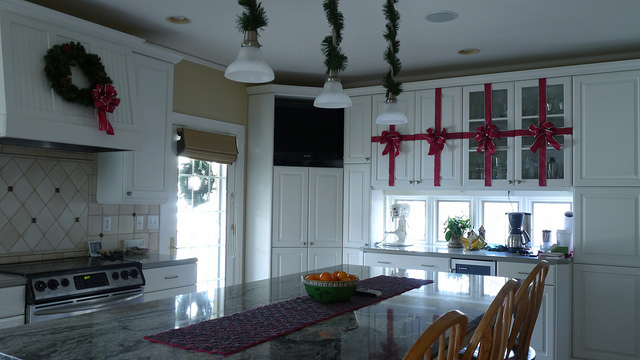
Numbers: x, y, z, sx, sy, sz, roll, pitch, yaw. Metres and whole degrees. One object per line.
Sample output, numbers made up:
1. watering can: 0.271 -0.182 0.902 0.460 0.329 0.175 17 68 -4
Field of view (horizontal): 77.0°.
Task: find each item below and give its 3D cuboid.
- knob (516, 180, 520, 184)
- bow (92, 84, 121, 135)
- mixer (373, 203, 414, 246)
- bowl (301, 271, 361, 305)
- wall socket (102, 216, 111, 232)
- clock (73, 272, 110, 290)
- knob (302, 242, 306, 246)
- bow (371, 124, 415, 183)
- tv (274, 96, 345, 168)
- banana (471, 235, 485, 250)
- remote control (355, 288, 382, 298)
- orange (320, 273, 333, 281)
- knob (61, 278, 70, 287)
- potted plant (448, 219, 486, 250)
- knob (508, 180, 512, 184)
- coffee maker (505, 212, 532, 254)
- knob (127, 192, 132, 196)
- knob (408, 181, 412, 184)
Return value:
1. knob: 2.573 0.022 5.212 0.049 0.040 0.017 4 -2 21
2. bow: -2.149 -0.724 4.095 0.269 0.444 0.184 9 4 37
3. mixer: 1.127 0.643 5.809 0.419 0.600 0.333 1 5 9
4. bowl: 0.065 0.828 3.158 0.429 0.176 0.408 -1 -4 0
5. wall socket: -2.476 0.509 4.667 0.095 0.180 0.017 -4 7 -39
6. clock: -2.246 0.986 3.920 0.272 0.153 0.060 -3 -14 -42
7. knob: -0.227 0.925 5.823 0.041 0.033 0.069 0 -1 22
8. bow: 1.039 -0.372 5.781 0.613 0.812 0.134 1 6 8
9. tv: -0.042 -0.704 6.059 1.323 1.074 0.457 9 14 33
10. banana: 2.156 0.848 5.468 0.192 0.166 0.070 9 -5 45
11. remote control: 0.401 0.890 3.231 0.204 0.051 0.151 2 5 21
12. orange: 0.052 0.731 3.062 0.065 0.064 0.063 -22 26 -38
13. knob: -2.404 0.969 3.795 0.034 0.078 0.062 3 6 28
14. potted plant: 2.041 0.753 5.626 0.537 0.239 0.334 3 0 23
15. knob: 2.479 0.024 5.238 0.045 0.049 0.013 2 6 17
16. coffee maker: 2.641 0.679 5.328 0.301 0.526 0.543 3 6 26
17. knob: -2.114 0.150 4.457 0.058 0.045 0.013 0 1 -35
18. knob: 1.280 0.029 5.680 0.051 0.033 0.052 1 0 -31
